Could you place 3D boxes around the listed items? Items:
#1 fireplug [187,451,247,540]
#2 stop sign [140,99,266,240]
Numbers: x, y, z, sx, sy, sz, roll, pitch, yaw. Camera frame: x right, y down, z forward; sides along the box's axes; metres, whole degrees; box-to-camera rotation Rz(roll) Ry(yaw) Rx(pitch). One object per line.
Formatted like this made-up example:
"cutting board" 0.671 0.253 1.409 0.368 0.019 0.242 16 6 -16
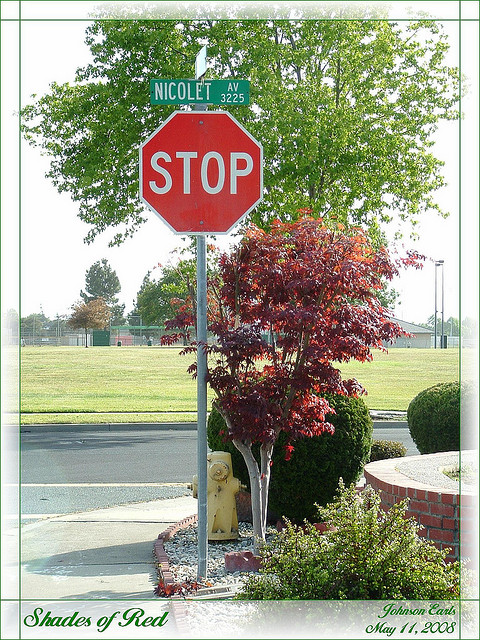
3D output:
"fireplug" -0.155 1.530 9.425 0.370 0.770 0.227 1 -1 -22
"stop sign" -0.319 -1.220 8.702 0.984 1.096 0.216 1 -1 -9
